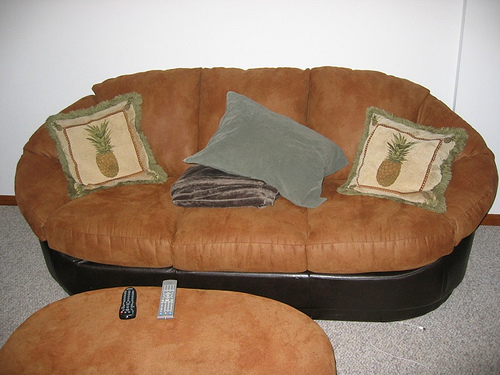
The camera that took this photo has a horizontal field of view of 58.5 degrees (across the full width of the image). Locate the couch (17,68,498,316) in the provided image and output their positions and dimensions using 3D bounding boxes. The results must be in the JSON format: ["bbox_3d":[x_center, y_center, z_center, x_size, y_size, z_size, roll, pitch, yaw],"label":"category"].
[{"bbox_3d":[0.069,-0.008,2.758,2.690,1.153,0.983,2,26,7],"label":"couch"}]

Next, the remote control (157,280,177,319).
[{"bbox_3d":[-0.399,0.540,2.178,0.071,0.021,0.212,1,43,-2],"label":"remote control"}]
